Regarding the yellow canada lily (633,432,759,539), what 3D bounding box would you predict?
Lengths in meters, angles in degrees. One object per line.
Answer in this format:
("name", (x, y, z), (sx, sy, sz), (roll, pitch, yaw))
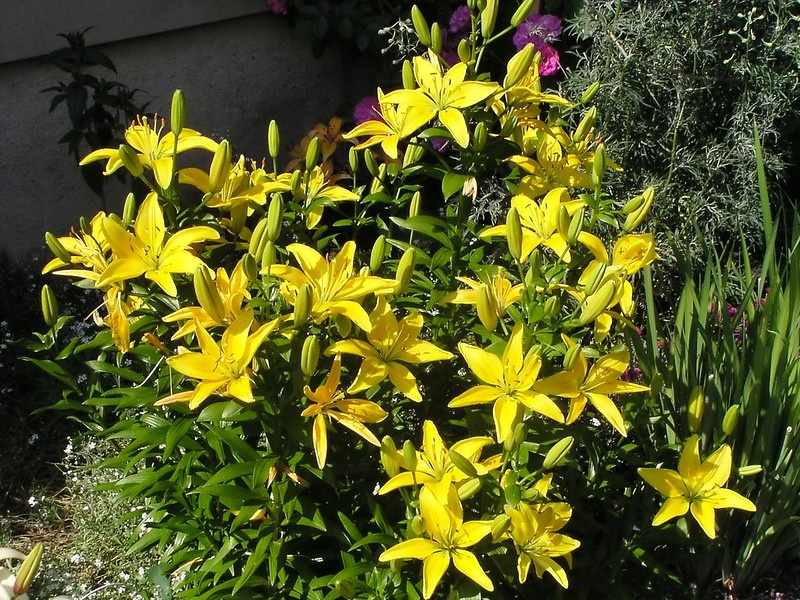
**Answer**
("yellow canada lily", (0.816, 0.562, 2.138), (0.260, 0.315, 0.184), (-14, 21, -9))
